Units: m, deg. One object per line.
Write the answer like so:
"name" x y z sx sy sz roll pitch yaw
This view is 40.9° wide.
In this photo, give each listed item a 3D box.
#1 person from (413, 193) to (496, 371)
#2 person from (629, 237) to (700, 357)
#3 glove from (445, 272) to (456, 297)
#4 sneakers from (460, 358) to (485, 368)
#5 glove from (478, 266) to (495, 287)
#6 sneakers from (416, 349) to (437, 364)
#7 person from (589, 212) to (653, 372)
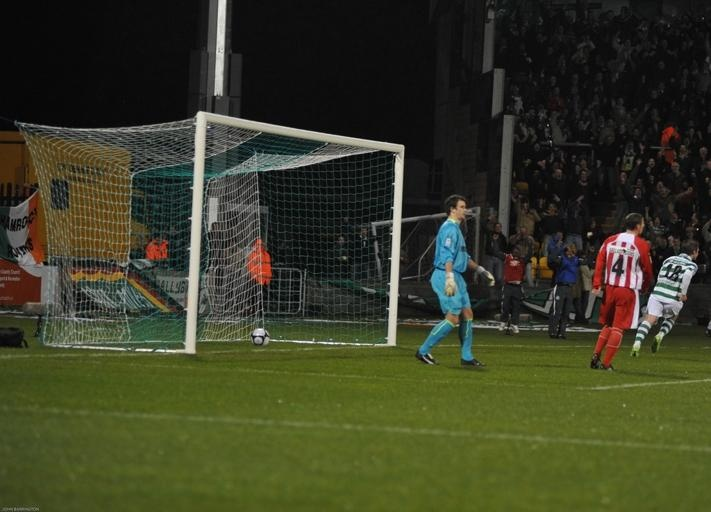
"person" 1.523 0.378 14.328 0.783 2.544 0.723 2 0 -22
"person" 5.904 0.892 18.153 0.778 1.280 3.009 17 39 32
"glove" 1.396 0.409 13.991 0.156 0.343 0.169 2 0 1
"sneakers" 1.783 1.623 14.480 0.365 0.137 0.121 0 1 7
"glove" 2.659 0.409 19.271 0.431 0.158 0.341 36 7 27
"sneakers" 1.132 1.563 14.551 0.373 0.160 0.135 20 -11 24
"person" 4.115 0.558 14.746 0.853 2.455 0.427 2 0 13
